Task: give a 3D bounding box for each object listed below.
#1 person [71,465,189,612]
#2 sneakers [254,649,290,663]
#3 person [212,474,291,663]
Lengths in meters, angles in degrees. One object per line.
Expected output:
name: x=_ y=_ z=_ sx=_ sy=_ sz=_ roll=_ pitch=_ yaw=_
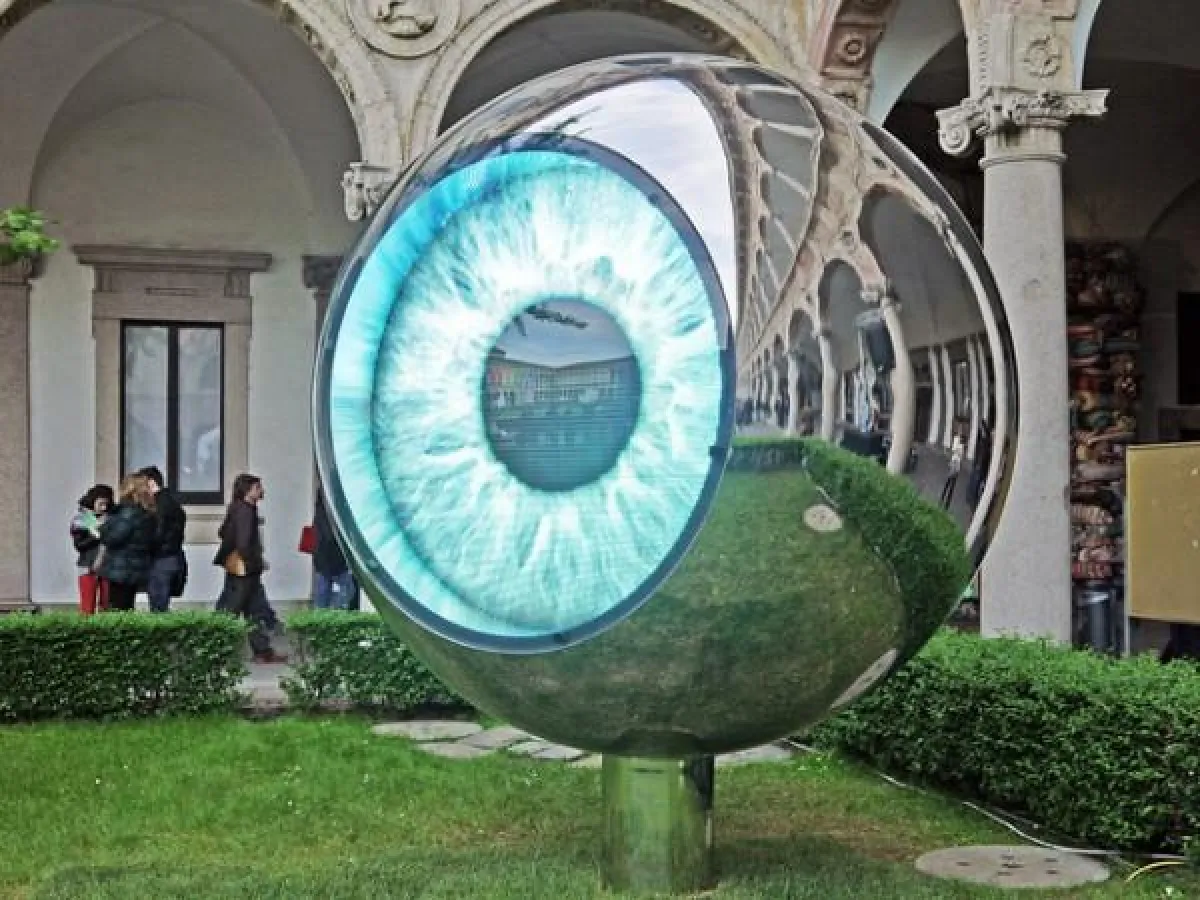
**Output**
person: x=-4.436 y=0.929 z=17.005 sx=0.936 sy=1.444 sz=1.473 roll=-3 pitch=9 yaw=-21
sneakers: x=-3.181 y=1.990 z=17.170 sx=0.389 sy=0.180 sz=0.144 roll=0 pitch=-7 yaw=-3
person: x=-3.433 y=1.163 z=17.321 sx=0.587 sy=1.818 sz=1.483 roll=-2 pitch=9 yaw=-12
